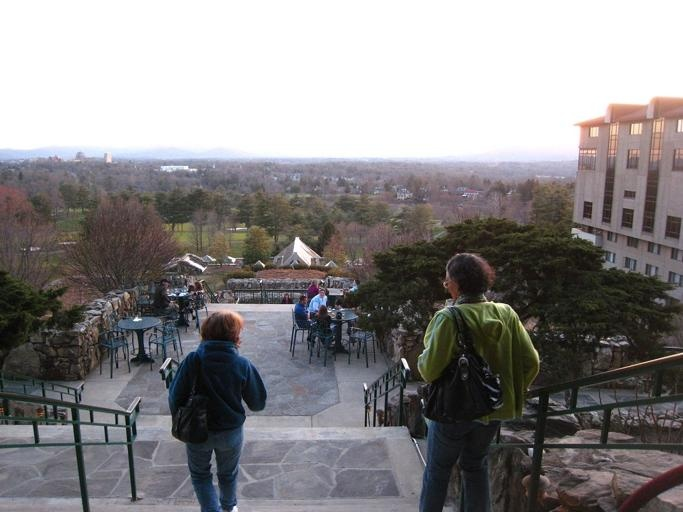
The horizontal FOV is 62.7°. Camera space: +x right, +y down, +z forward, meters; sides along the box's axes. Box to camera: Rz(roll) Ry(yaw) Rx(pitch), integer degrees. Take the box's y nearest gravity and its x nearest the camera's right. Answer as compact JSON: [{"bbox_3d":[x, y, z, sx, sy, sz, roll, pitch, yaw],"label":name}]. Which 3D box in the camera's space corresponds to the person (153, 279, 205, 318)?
[{"bbox_3d":[-4.693,1.210,15.829,1.182,0.940,1.156,14,18,43],"label":"person"}]

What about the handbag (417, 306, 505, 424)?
[{"bbox_3d":[1.103,1.079,5.034,0.616,0.949,0.962,0,-28,8],"label":"handbag"}]

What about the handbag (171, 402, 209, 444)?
[{"bbox_3d":[-1.424,1.541,5.334,0.278,0.417,0.424,8,-9,-41],"label":"handbag"}]
